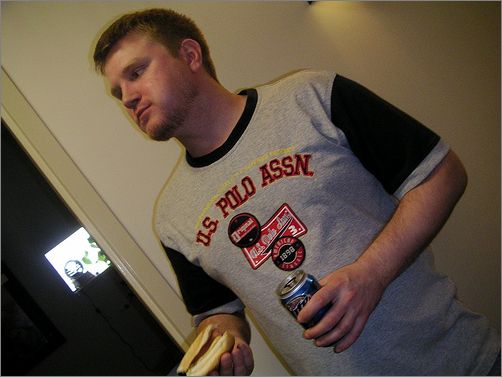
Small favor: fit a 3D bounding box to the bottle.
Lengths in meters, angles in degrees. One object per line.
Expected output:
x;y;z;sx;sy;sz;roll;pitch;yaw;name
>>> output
0.183;0.353;1.308;0.123;0.208;0.118;-38;4;3;bottle
